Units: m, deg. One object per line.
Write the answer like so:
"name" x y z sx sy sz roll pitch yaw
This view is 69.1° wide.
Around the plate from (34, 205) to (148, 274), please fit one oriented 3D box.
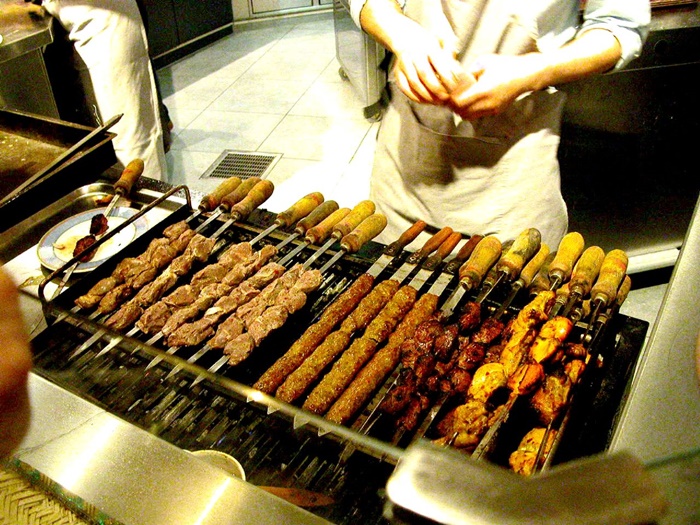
"plate" -1.095 -0.083 2.113 0.296 0.042 0.307 11 40 25
